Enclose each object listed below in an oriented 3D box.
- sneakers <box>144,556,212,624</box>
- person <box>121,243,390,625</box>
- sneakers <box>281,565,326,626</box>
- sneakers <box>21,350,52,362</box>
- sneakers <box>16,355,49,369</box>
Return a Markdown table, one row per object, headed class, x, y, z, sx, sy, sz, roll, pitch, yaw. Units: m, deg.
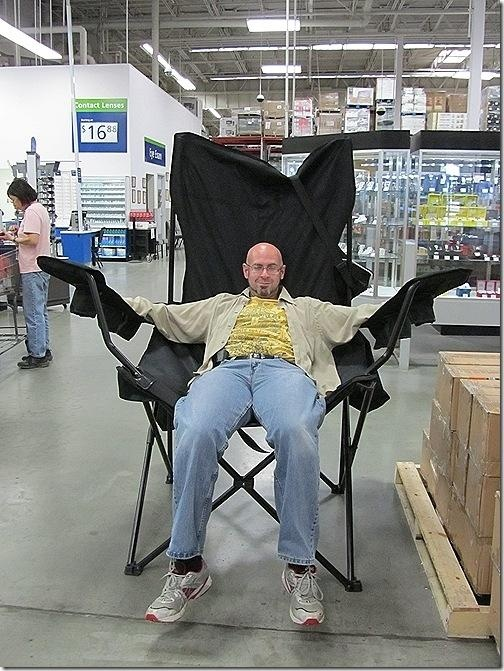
| class | x | y | z | sx | sy | sz | roll | pitch | yaw |
| --- | --- | --- | --- | --- | --- | --- | --- | --- | --- |
| sneakers | -0.189 | 0.654 | 1.339 | 0.081 | 0.098 | 0.232 | -2 | -4 | 14 |
| person | -0.010 | 0.152 | 1.620 | 0.794 | 1.138 | 0.996 | -2 | -8 | 13 |
| sneakers | 0.126 | 0.654 | 1.308 | 0.070 | 0.084 | 0.184 | -1 | 0 | -4 |
| sneakers | -1.869 | 0.171 | 4.500 | 0.283 | 0.129 | 0.096 | 3 | 4 | 4 |
| sneakers | -1.903 | 0.230 | 4.455 | 0.274 | 0.126 | 0.103 | 2 | 4 | -14 |
